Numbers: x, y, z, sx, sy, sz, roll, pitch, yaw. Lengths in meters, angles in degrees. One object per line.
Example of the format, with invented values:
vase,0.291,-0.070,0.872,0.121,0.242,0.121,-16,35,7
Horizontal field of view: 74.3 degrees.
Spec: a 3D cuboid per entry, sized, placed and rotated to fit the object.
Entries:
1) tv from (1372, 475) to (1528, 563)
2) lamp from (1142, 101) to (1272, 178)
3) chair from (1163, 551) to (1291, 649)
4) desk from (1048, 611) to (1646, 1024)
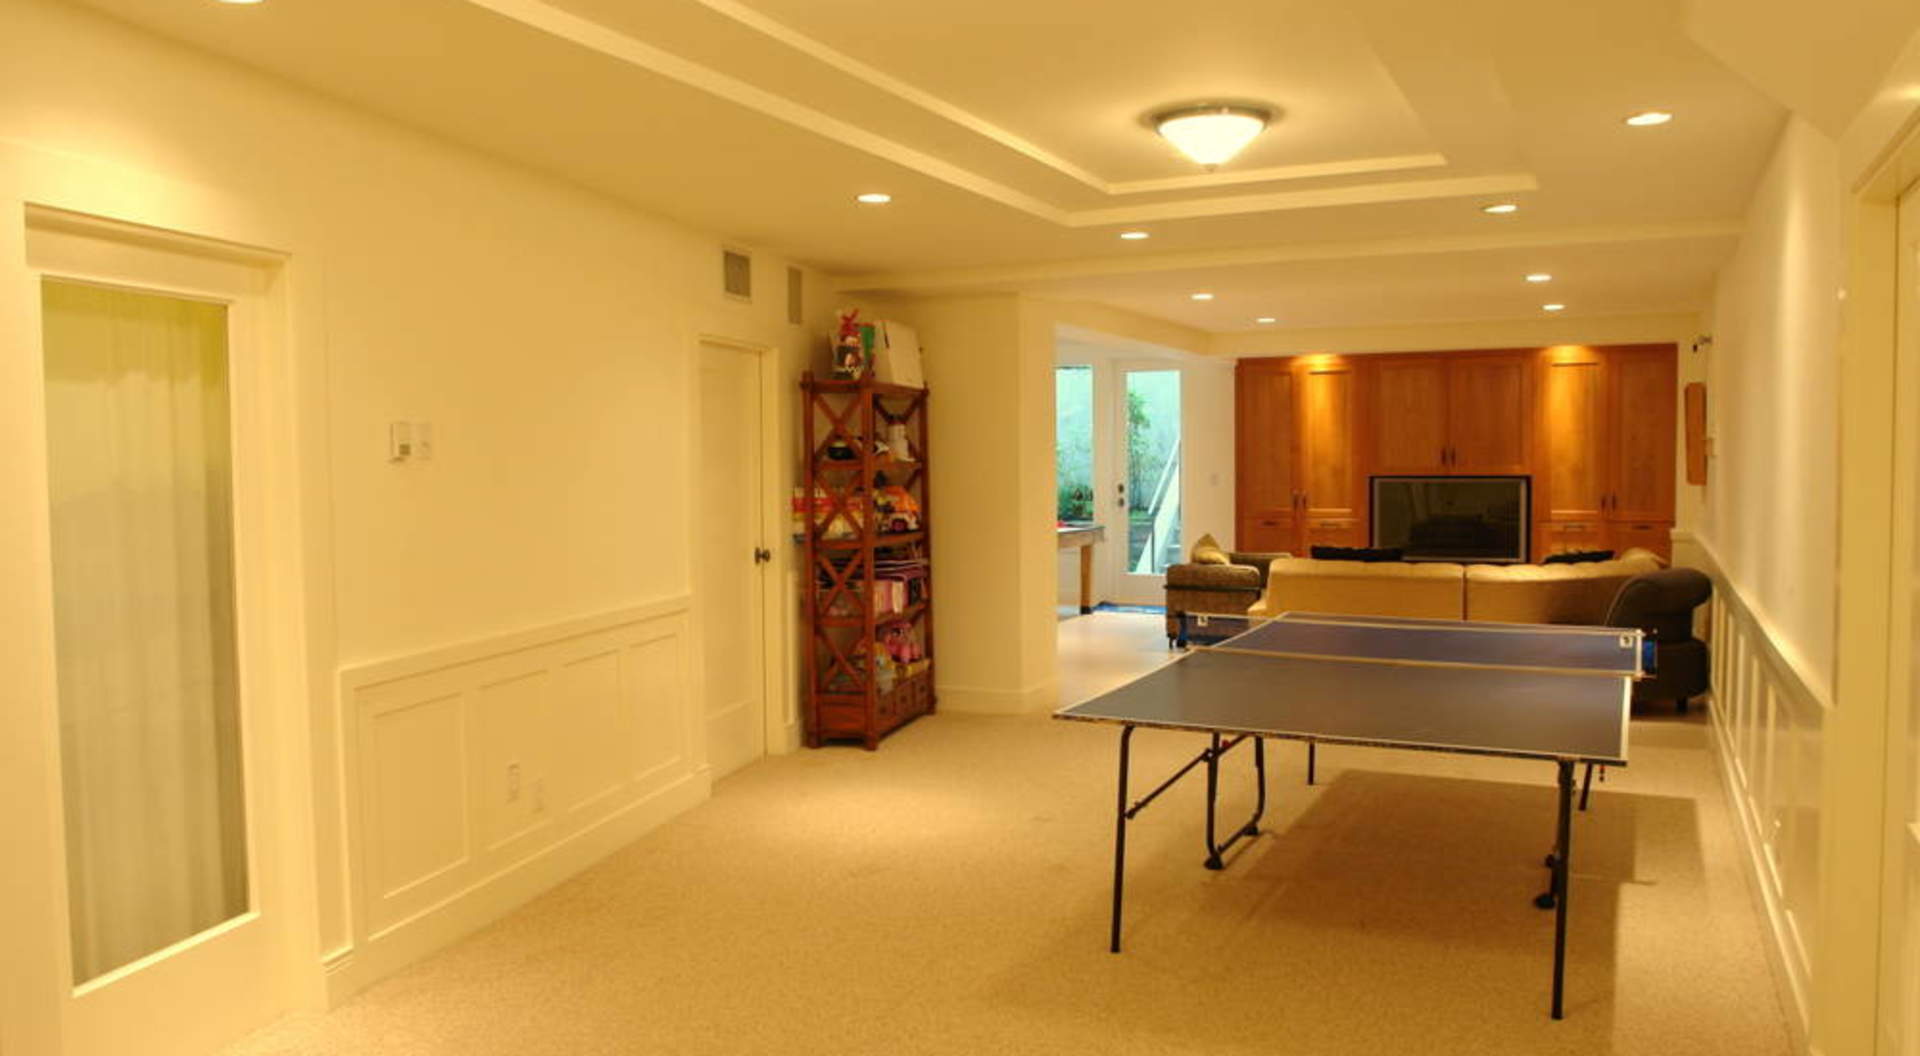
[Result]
tv,4.834,-0.064,12.533,0.041,0.872,1.599,0,1,-44
lamp,1.269,-1.898,6.285,0.572,0.191,0.587,0,-5,37
chair,2.665,0.648,11.419,0.880,0.837,1.549,2,4,44
desk,2.131,1.255,6.385,2.166,1.259,2.636,5,14,27
